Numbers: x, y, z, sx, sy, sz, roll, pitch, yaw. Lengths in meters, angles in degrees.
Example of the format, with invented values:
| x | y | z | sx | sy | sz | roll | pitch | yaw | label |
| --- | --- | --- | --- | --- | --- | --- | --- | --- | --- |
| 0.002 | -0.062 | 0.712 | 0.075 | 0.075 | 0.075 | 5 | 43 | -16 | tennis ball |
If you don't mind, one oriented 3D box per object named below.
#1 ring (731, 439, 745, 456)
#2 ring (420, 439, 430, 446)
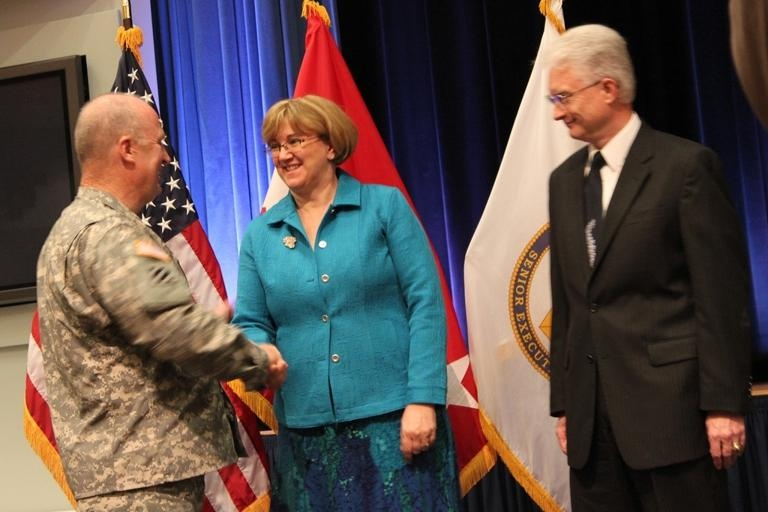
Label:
| x | y | z | sx | sy | sz | roll | pitch | yaw | label |
| --- | --- | --- | --- | --- | --- | --- | --- | --- | --- |
| 1.219 | 0.653 | 2.841 | 0.050 | 0.054 | 0.037 | 5 | 2 | 36 | ring |
| 0.139 | 0.625 | 2.796 | 0.024 | 0.023 | 0.022 | 2 | -5 | -35 | ring |
